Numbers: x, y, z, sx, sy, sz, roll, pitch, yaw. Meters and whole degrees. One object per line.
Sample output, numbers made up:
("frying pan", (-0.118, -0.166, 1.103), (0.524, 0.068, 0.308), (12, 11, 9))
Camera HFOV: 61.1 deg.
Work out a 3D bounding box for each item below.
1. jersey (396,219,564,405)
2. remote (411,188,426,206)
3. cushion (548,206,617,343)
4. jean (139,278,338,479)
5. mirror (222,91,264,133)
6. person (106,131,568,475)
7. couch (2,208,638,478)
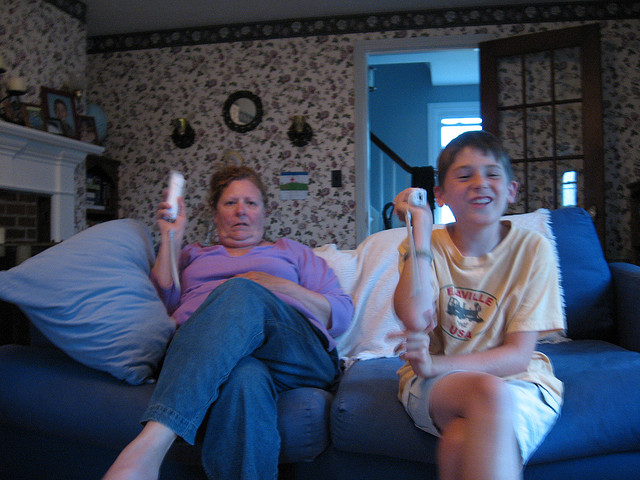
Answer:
("jersey", (0.575, 0.156, 1.823), (0.437, 0.457, 0.288), (0, 0, 5))
("remote", (0.324, -0.136, 1.744), (0.071, 0.054, 0.034), (1, -1, -43))
("cushion", (1.088, 0.142, 2.332), (0.198, 0.432, 0.460), (-4, -2, 9))
("jean", (-0.262, 0.429, 1.800), (0.611, 0.647, 0.263), (24, -43, -12))
("mirror", (-0.658, -1.054, 4.825), (0.319, 0.283, 0.068), (16, -7, 26))
("person", (0.128, 0.301, 2.220), (1.840, 1.089, 1.327), (-2, -3, 5))
("couch", (-0.097, 0.606, 2.253), (2.116, 0.736, 0.908), (-3, -10, 6))
